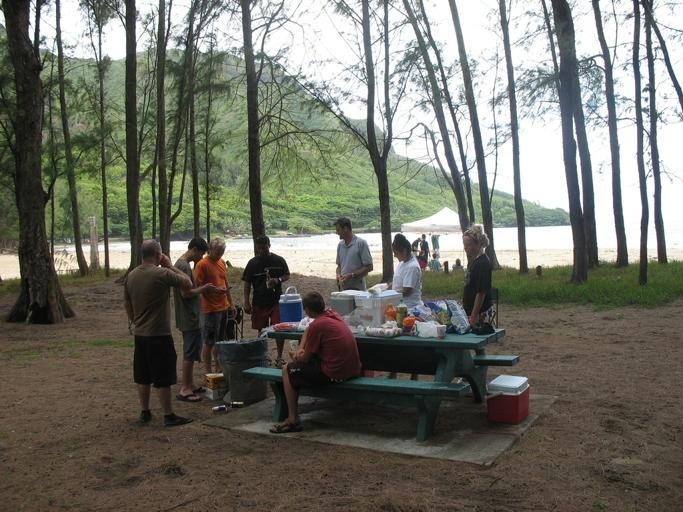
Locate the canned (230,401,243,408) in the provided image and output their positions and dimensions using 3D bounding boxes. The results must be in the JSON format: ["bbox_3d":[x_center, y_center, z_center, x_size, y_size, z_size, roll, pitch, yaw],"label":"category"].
[{"bbox_3d":[-1.423,2.020,8.210,0.162,0.056,0.137,-2,8,-5],"label":"canned"}]

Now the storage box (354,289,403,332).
[{"bbox_3d":[0.450,0.695,7.782,0.459,0.422,0.473,2,4,22],"label":"storage box"}]

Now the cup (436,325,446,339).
[{"bbox_3d":[1.197,0.901,7.159,0.135,0.144,0.135,-1,-3,0],"label":"cup"}]

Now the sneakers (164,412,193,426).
[{"bbox_3d":[-2.066,2.040,7.567,0.318,0.149,0.135,2,0,-21],"label":"sneakers"}]

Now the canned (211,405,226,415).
[{"bbox_3d":[-1.635,2.046,8.019,0.117,0.110,0.080,3,-23,-24],"label":"canned"}]

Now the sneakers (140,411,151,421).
[{"bbox_3d":[-2.487,2.021,7.627,0.067,0.128,0.202,3,1,-6],"label":"sneakers"}]

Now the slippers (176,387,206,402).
[{"bbox_3d":[-2.131,1.950,8.487,0.428,0.118,0.158,-2,3,32],"label":"slippers"}]

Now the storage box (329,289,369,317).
[{"bbox_3d":[0.093,0.703,7.952,0.498,0.348,0.291,3,8,27],"label":"storage box"}]

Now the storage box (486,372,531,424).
[{"bbox_3d":[2.094,1.780,7.501,0.448,0.506,0.582,0,8,29],"label":"storage box"}]

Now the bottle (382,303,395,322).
[{"bbox_3d":[0.647,0.735,7.595,0.200,0.284,0.167,5,-7,-44],"label":"bottle"}]

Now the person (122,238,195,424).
[{"bbox_3d":[-2.329,1.083,7.503,0.827,2.043,0.426,2,9,16],"label":"person"}]

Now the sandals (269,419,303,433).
[{"bbox_3d":[-0.669,2.047,7.304,0.314,0.125,0.164,4,-7,-7],"label":"sandals"}]
